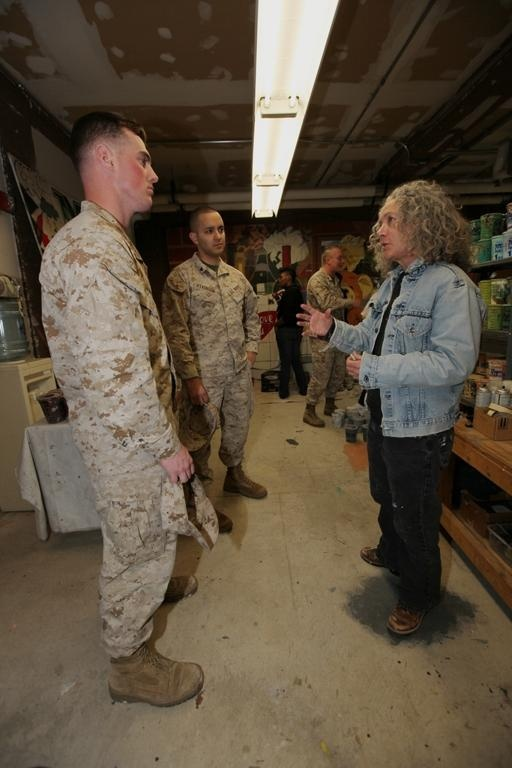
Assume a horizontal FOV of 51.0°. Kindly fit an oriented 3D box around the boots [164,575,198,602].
[{"bbox_3d":[-0.330,0.885,2.329,0.105,0.047,0.173,12,19,23],"label":"boots"}]

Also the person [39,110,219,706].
[{"bbox_3d":[-0.443,0.022,1.723,0.396,1.755,0.434,-9,11,-8],"label":"person"}]

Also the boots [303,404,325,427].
[{"bbox_3d":[0.491,0.286,4.691,0.100,0.170,0.264,-3,6,-27],"label":"boots"}]

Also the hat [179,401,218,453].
[{"bbox_3d":[-0.314,0.209,2.741,0.223,0.275,0.122,6,8,28],"label":"hat"}]

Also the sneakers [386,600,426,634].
[{"bbox_3d":[0.587,0.901,2.089,0.072,0.064,0.160,6,1,40],"label":"sneakers"}]

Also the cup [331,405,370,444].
[{"bbox_3d":[0.761,0.317,4.258,0.222,0.105,0.280,5,18,13],"label":"cup"}]

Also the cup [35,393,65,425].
[{"bbox_3d":[-1.051,0.110,2.731,0.160,0.135,0.145,-6,14,-20],"label":"cup"}]

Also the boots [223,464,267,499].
[{"bbox_3d":[-0.023,0.579,3.262,0.330,0.196,0.120,5,11,19],"label":"boots"}]

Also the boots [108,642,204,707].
[{"bbox_3d":[-0.329,0.975,1.943,0.383,0.256,0.155,-4,20,-11],"label":"boots"}]

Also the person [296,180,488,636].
[{"bbox_3d":[0.582,0.091,2.085,0.532,1.682,0.629,-11,12,-18],"label":"person"}]
